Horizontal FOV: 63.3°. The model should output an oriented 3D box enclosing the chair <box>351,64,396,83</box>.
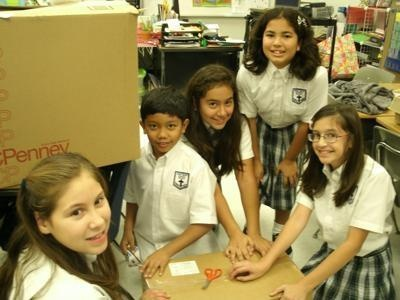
[{"bbox_3d":[1.686,-0.731,3.200,0.381,0.271,0.238,-11,28,-45],"label":"chair"}]
